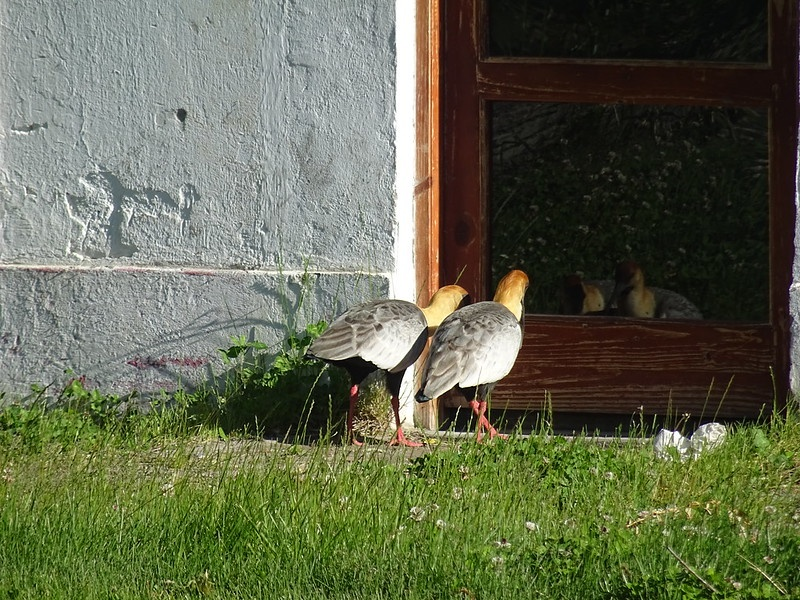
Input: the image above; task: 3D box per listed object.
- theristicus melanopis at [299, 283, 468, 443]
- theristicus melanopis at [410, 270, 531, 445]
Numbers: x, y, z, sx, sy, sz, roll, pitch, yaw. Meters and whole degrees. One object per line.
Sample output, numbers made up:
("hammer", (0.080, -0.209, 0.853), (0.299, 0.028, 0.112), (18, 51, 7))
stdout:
("theristicus melanopis", (-0.040, 0.358, 5.402), (1.066, 0.859, 0.493), (1, 5, -36))
("theristicus melanopis", (0.423, 0.314, 5.222), (0.411, 0.622, 0.862), (6, 3, 25))
